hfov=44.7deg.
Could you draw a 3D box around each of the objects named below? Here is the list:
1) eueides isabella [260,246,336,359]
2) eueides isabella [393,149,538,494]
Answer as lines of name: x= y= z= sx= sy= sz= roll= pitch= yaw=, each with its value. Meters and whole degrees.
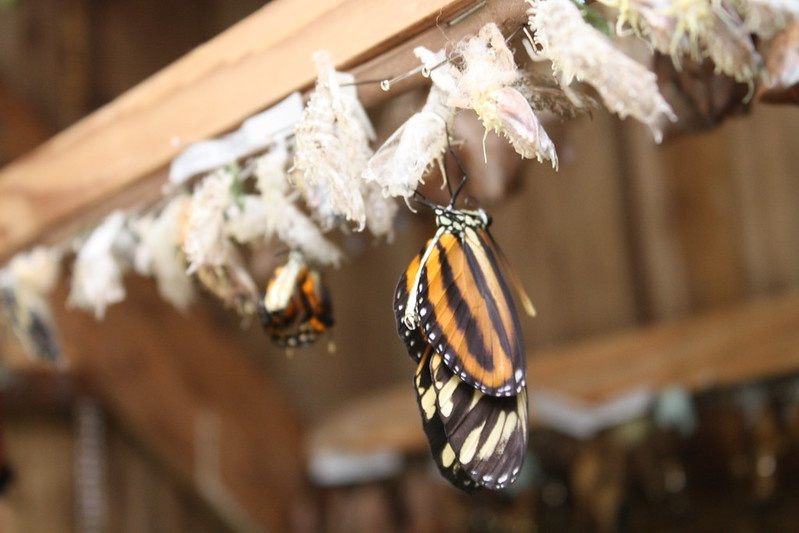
eueides isabella: x=-0.193 y=0.072 z=1.594 sx=0.099 sy=0.144 sz=0.060 roll=10 pitch=-32 yaw=-36
eueides isabella: x=0.115 y=0.089 z=1.400 sx=0.239 sy=0.394 sz=0.129 roll=-20 pitch=7 yaw=-38
